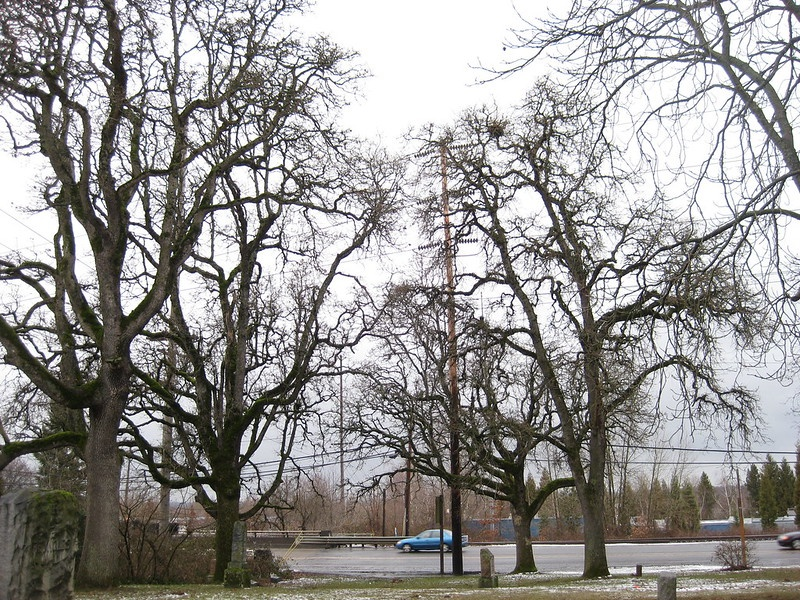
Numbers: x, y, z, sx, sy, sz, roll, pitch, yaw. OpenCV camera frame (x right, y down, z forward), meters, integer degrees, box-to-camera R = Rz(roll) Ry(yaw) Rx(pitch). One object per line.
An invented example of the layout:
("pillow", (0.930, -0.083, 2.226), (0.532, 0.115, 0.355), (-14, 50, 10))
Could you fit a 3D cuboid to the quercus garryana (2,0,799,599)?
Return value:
("quercus garryana", (-1.146, 1.046, 29.471), (14.382, 19.206, 5.364), (-4, 2, -3))
